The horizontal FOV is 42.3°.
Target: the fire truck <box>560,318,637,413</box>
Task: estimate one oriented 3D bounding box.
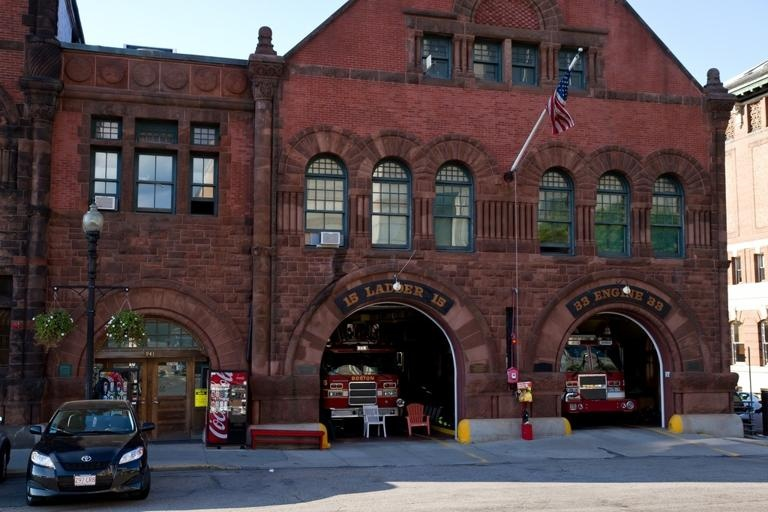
[{"bbox_3d":[8.457,4.688,39.588,2.313,2.367,4.079,-1,-13,-4],"label":"fire truck"}]

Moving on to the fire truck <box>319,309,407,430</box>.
[{"bbox_3d":[-0.942,4.704,38.917,2.960,4.263,1.056,1,-12,-8],"label":"fire truck"}]

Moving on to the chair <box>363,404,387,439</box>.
[{"bbox_3d":[-0.334,6.410,38.682,0.920,1.300,1.685,-1,-11,-1],"label":"chair"}]

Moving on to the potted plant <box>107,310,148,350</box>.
[{"bbox_3d":[-8.714,2.435,33.893,1.603,1.305,1.564,7,-8,-44],"label":"potted plant"}]

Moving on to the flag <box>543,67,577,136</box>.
[{"bbox_3d":[6.498,-5.722,36.477,1.136,2.466,1.018,0,-4,41],"label":"flag"}]
